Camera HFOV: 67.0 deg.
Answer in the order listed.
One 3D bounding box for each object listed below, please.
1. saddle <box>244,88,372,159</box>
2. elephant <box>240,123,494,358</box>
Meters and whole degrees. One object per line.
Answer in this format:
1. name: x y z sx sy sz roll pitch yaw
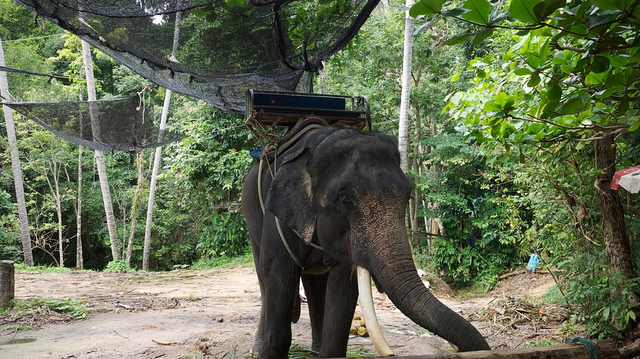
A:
1. saddle: -0.288 -1.063 8.880 1.658 1.361 2.505 2 8 -30
2. elephant: 0.219 0.897 7.136 3.411 3.711 1.422 -1 -1 43
